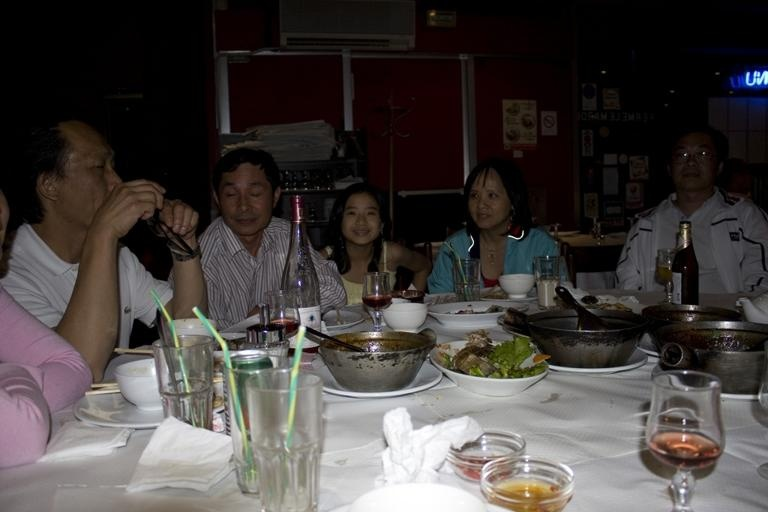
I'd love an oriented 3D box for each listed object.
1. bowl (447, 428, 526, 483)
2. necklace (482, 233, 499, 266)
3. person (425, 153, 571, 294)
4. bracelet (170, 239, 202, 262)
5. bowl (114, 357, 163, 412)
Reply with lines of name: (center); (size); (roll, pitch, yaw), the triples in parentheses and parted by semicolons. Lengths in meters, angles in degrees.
bowl: (0.238, 0.455, 1.332); (0.129, 0.048, 0.125); (-5, 3, 0)
necklace: (0.665, -0.038, 3.553); (0.090, 0.163, 0.044); (-1, -2, 9)
person: (0.728, -0.173, 3.638); (1.165, 1.014, 0.769); (1, 1, 21)
bracelet: (-0.840, -0.033, 2.407); (0.108, 0.056, 0.083); (21, 17, 25)
bowl: (-0.668, 0.348, 1.606); (0.155, 0.091, 0.153); (-2, 3, 0)
